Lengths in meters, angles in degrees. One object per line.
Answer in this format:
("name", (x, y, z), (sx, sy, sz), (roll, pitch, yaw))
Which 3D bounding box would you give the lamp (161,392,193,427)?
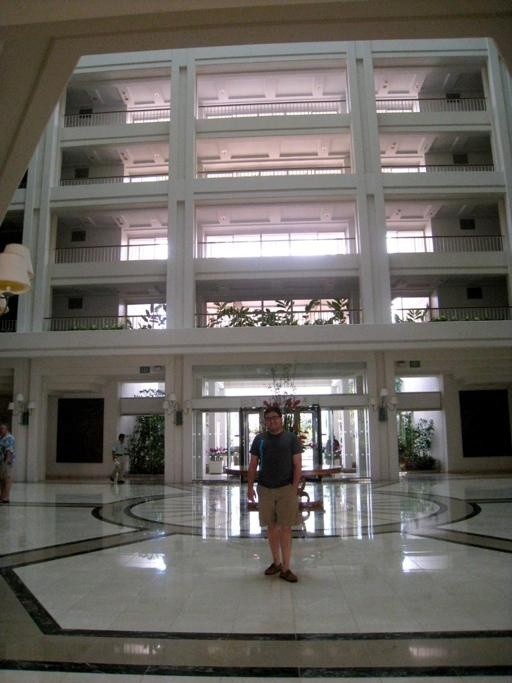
("lamp", (-2.481, 2.168, 17.970), (0.844, 1.057, 0.342), (0, -9, -5))

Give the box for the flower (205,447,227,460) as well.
("flower", (-1.318, 3.789, 19.029), (0.596, 0.486, 0.819), (0, -8, -5))

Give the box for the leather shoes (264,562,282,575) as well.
("leather shoes", (0.159, 2.171, 5.411), (0.076, 0.069, 0.174), (-2, -8, 18))

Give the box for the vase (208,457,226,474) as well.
("vase", (-1.396, 4.272, 19.394), (0.541, 0.564, 0.424), (0, -8, -7))

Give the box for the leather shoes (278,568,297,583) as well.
("leather shoes", (0.300, 2.109, 5.084), (0.077, 0.062, 0.149), (3, -10, -24))

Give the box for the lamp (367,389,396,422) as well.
("lamp", (3.935, 1.980, 17.602), (0.808, 1.075, 0.401), (-3, -9, 11))

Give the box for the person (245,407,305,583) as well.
("person", (0.188, 1.404, 5.361), (0.524, 1.589, 0.465), (-4, -9, 19))
